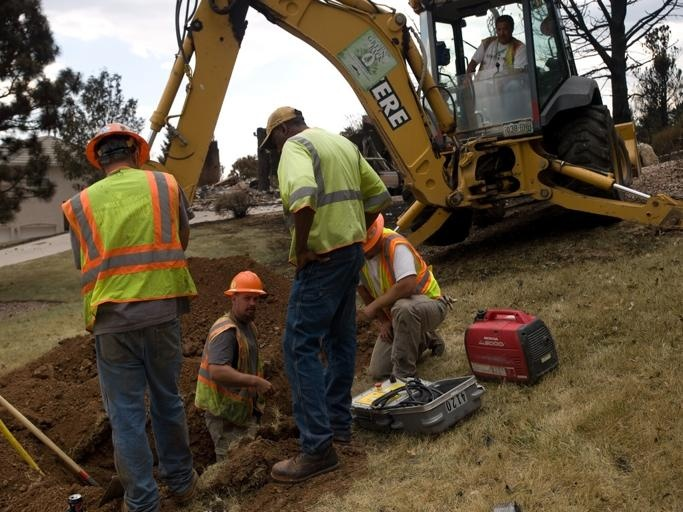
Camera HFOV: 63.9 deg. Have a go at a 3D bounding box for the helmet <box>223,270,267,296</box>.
[{"bbox_3d":[-0.842,0.251,4.692,0.237,0.161,0.309,3,-6,-22],"label":"helmet"}]

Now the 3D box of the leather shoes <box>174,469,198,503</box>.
[{"bbox_3d":[-1.116,1.660,3.953,0.084,0.115,0.247,-2,12,6],"label":"leather shoes"}]

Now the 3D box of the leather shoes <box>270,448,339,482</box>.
[{"bbox_3d":[-0.267,1.428,3.842,0.468,0.216,0.200,-4,10,-7],"label":"leather shoes"}]

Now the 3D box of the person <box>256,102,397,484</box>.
[{"bbox_3d":[-0.127,0.281,3.926,0.475,2.349,1.151,1,13,37],"label":"person"}]

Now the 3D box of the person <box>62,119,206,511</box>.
[{"bbox_3d":[-1.347,0.558,3.805,0.753,2.336,0.570,-12,11,-25],"label":"person"}]
